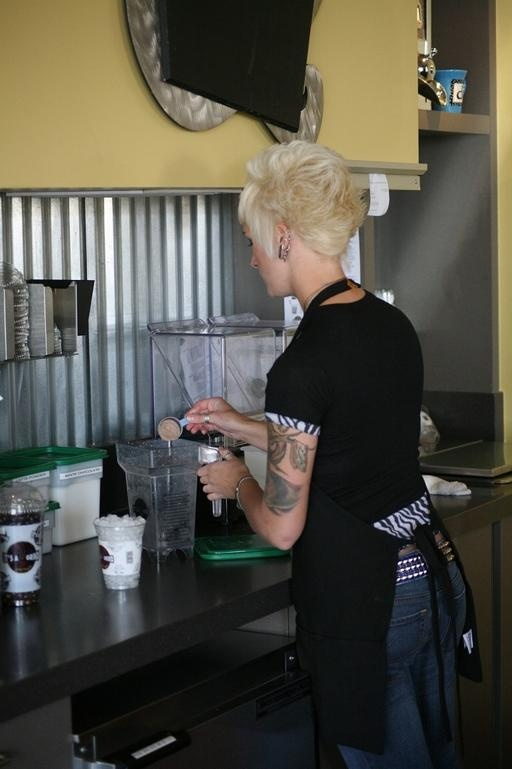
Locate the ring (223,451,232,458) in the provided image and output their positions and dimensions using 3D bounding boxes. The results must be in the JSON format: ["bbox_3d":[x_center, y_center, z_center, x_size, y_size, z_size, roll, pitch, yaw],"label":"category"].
[{"bbox_3d":[-0.055,0.135,1.239,0.013,0.012,0.013,1,-5,0],"label":"ring"}]

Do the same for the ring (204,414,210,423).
[{"bbox_3d":[-0.092,0.063,1.201,0.010,0.011,0.003,-1,-8,30],"label":"ring"}]

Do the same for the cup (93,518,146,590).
[{"bbox_3d":[-0.226,0.291,1.113,0.101,0.123,0.082,-1,1,-39],"label":"cup"}]

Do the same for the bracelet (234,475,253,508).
[{"bbox_3d":[-0.027,0.192,1.115,0.039,0.056,0.031,-4,10,-35],"label":"bracelet"}]
